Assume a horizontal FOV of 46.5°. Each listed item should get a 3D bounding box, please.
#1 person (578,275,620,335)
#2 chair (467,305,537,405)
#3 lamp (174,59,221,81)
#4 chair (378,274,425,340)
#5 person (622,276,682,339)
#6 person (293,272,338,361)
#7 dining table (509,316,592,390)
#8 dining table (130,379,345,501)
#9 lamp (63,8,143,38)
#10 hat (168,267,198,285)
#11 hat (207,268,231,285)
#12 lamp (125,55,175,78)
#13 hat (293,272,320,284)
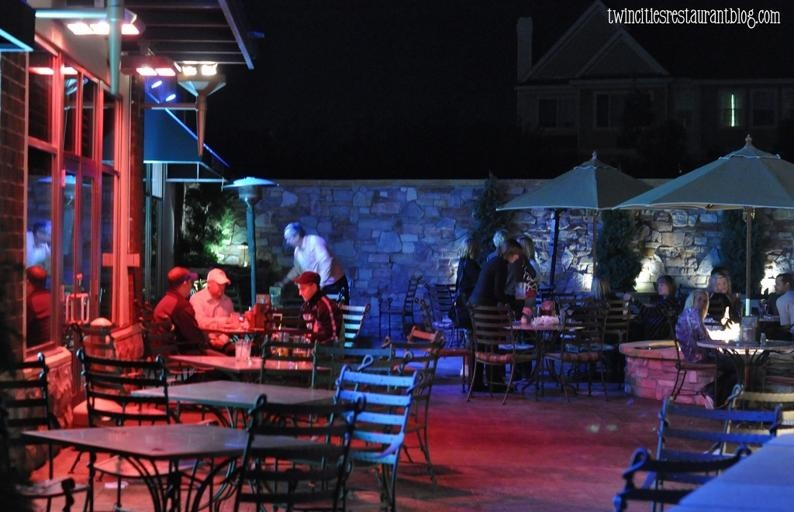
[{"bbox_3d":[3.093,0.649,14.204,0.510,1.006,0.662,-6,37,8],"label":"person"},{"bbox_3d":[1.469,1.383,13.410,0.878,1.458,1.174,1,12,5],"label":"chair"},{"bbox_3d":[-2.878,-2.678,13.343,0.588,0.266,0.716,-2,12,-13],"label":"lamp"},{"bbox_3d":[0.064,1.104,19.648,0.967,1.396,1.050,0,12,-1],"label":"chair"},{"bbox_3d":[3.959,0.827,14.284,0.493,1.169,0.817,-8,15,-34],"label":"person"},{"bbox_3d":[-1.064,0.695,11.713,0.629,1.048,0.730,-7,14,-27],"label":"person"},{"bbox_3d":[2.358,1.364,13.650,0.820,1.373,0.736,-1,-3,44],"label":"dining table"},{"bbox_3d":[-1.483,1.715,8.539,1.247,0.664,1.268,6,5,31],"label":"dining table"},{"bbox_3d":[-3.456,-2.671,10.775,0.679,0.162,0.644,0,0,5],"label":"lamp"},{"bbox_3d":[-3.116,0.295,13.388,0.351,0.184,0.208,-21,29,-24],"label":"hat"},{"bbox_3d":[-2.598,0.298,13.058,0.320,0.190,0.235,-5,-6,37],"label":"hat"},{"bbox_3d":[-3.368,-2.551,12.457,0.365,0.094,0.405,0,-2,13],"label":"lamp"},{"bbox_3d":[-1.141,0.275,11.688,0.240,0.119,0.170,13,-4,-5],"label":"hat"}]
